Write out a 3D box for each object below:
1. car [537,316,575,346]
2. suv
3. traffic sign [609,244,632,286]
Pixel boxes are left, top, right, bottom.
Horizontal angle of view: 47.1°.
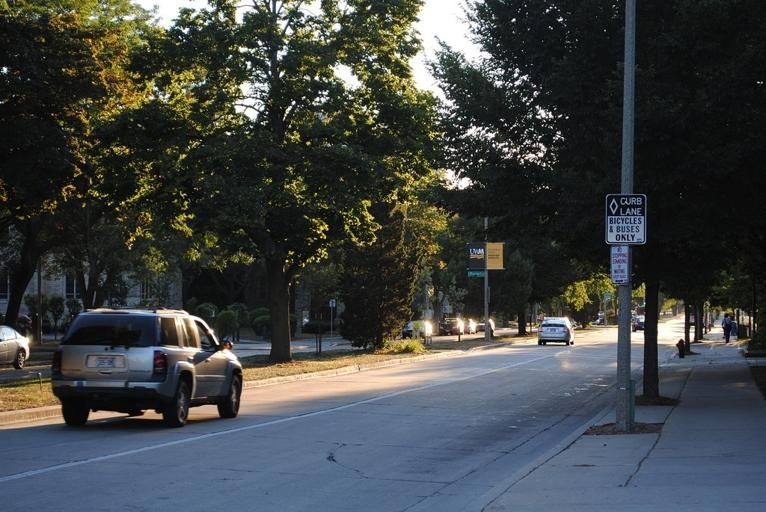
[{"bbox_3d":[11.658,5.120,59.540,2.167,2.206,2.929,-3,-10,16],"label":"car"},{"bbox_3d":[-5.453,2.546,21.200,2.449,1.817,4.345,-1,-2,20],"label":"suv"},{"bbox_3d":[5.263,0.197,19.465,0.422,0.848,0.297,-2,-8,15],"label":"traffic sign"}]
